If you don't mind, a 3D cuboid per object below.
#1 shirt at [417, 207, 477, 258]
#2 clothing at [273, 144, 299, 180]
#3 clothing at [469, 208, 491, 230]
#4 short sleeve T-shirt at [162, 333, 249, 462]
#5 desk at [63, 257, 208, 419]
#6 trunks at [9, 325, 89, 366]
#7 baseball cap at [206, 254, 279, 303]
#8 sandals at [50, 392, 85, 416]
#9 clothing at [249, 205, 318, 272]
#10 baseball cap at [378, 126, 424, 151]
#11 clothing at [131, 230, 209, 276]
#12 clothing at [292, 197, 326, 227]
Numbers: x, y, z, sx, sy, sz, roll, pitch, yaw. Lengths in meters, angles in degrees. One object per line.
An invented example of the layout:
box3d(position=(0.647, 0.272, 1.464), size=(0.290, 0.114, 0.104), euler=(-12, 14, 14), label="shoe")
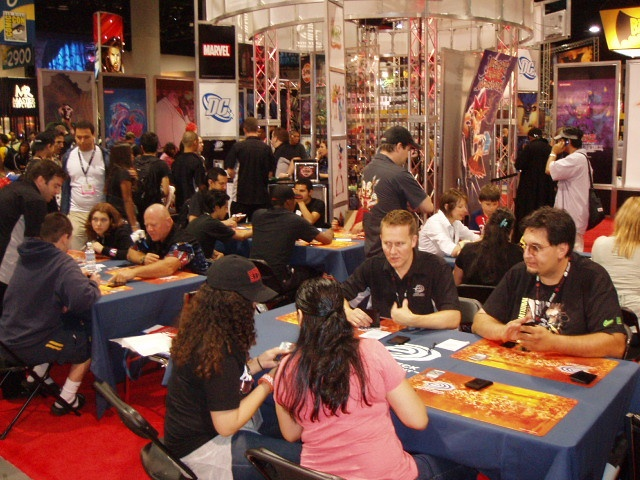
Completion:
box3d(position=(1.271, -0.087, 5.083), size=(0.639, 0.510, 0.514), euler=(7, 16, 28), label="shirt")
box3d(position=(-0.673, -1.531, 9.343), size=(0.545, 0.792, 0.719), euler=(5, 27, -9), label="clothing")
box3d(position=(1.939, -0.257, 5.876), size=(0.192, 0.350, 0.365), euler=(0, 14, 11), label="clothing")
box3d(position=(-0.481, 0.681, 2.069), size=(0.260, 0.450, 0.442), euler=(-7, 22, -38), label="short sleeve T-shirt")
box3d(position=(-1.415, 0.579, 3.807), size=(0.884, 0.848, 1.222), euler=(9, 21, 25), label="desk")
box3d(position=(-1.961, 0.767, 3.610), size=(0.353, 0.159, 0.276), euler=(-4, 1, -37), label="trunks")
box3d(position=(-0.345, 0.153, 2.209), size=(0.283, 0.156, 0.190), euler=(13, 8, -2), label="baseball cap")
box3d(position=(-1.965, 1.301, 3.846), size=(0.123, 0.123, 0.281), euler=(5, 9, 22), label="sandals")
box3d(position=(-0.438, -0.119, 5.395), size=(0.753, 0.807, 0.662), euler=(15, 27, 31), label="clothing")
box3d(position=(0.808, -1.038, 4.847), size=(0.298, 0.184, 0.213), euler=(-3, 14, -8), label="baseball cap")
box3d(position=(-1.393, 0.071, 4.463), size=(0.581, 0.459, 0.417), euler=(0, 4, -15), label="clothing")
box3d(position=(-0.109, -0.366, 6.337), size=(0.351, 0.662, 0.311), euler=(1, 6, 9), label="clothing")
